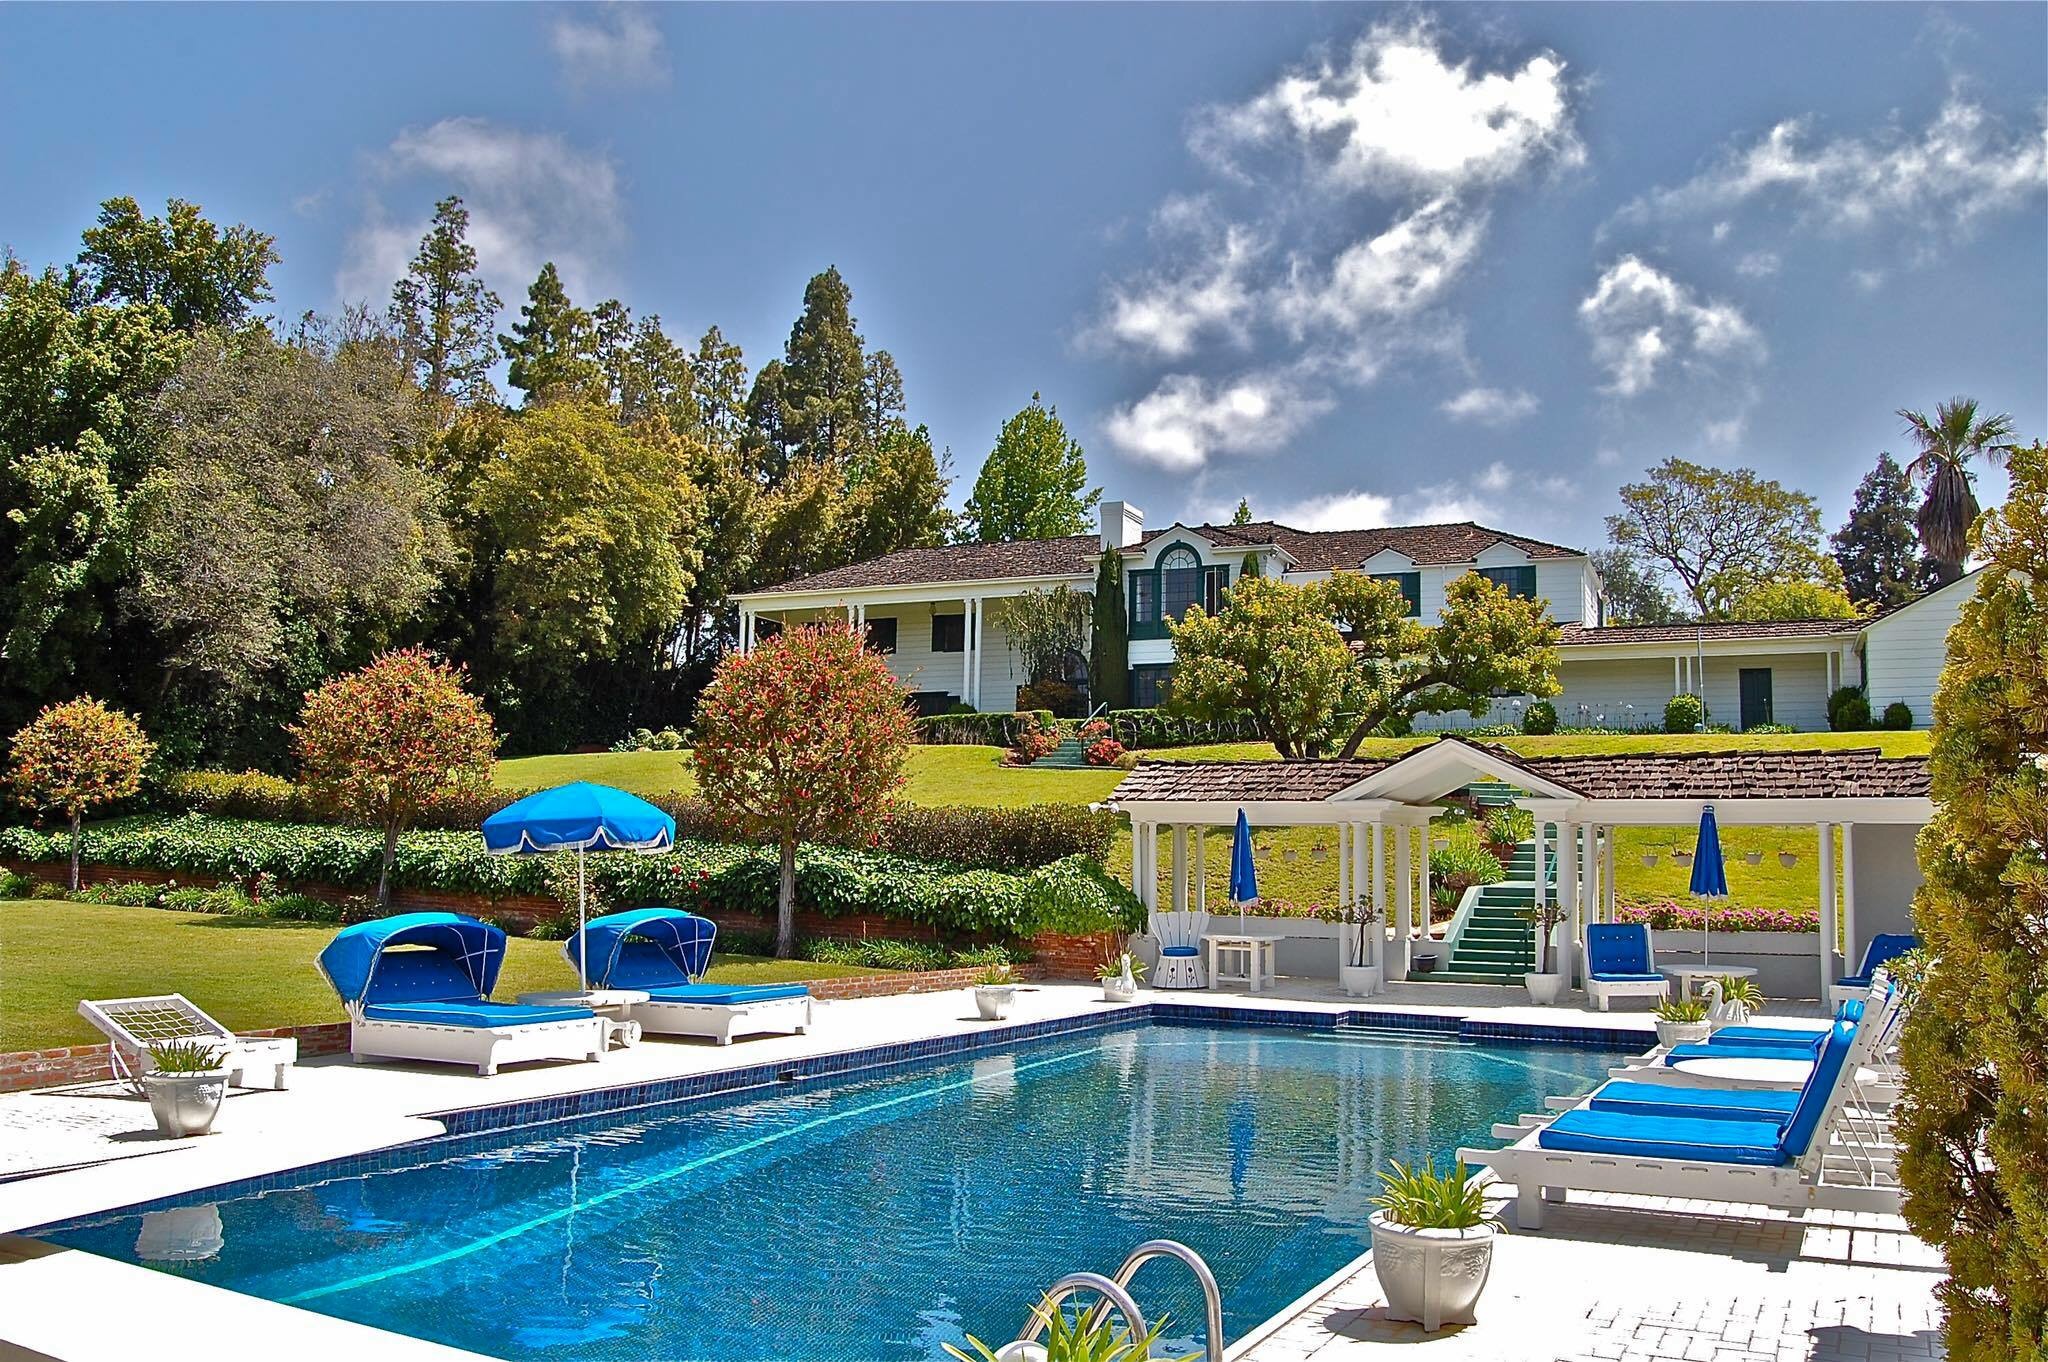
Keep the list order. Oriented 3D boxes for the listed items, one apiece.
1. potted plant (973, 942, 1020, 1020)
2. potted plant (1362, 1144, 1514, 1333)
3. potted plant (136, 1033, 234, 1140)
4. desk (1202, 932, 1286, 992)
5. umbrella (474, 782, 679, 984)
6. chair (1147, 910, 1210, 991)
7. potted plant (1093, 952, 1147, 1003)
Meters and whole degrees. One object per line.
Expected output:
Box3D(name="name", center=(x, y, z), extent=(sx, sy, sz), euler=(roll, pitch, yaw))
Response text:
Box3D(name="potted plant", center=(-0.525, 6.017, 34.706), extent=(0.746, 1.067, 0.721), euler=(1, -11, 2))
Box3D(name="potted plant", center=(5.070, 7.081, 23.392), extent=(2.180, 2.290, 1.396), euler=(-1, 1, -7))
Box3D(name="potted plant", center=(-12.443, 6.006, 26.588), extent=(1.268, 1.538, 1.300), euler=(-9, -11, 41))
Box3D(name="desk", center=(4.676, 6.109, 39.005), extent=(1.174, 0.895, 1.235), euler=(-2, -10, 11))
Box3D(name="umbrella", center=(-8.114, 3.969, 33.321), extent=(3.601, 4.190, 3.452), euler=(0, 0, -24))
Box3D(name="chair", center=(3.504, 5.946, 39.608), extent=(1.355, 1.654, 1.359), euler=(0, -14, -1))
Box3D(name="potted plant", center=(2.026, 6.209, 37.140), extent=(0.608, 0.871, 0.838), euler=(1, -10, -2))
